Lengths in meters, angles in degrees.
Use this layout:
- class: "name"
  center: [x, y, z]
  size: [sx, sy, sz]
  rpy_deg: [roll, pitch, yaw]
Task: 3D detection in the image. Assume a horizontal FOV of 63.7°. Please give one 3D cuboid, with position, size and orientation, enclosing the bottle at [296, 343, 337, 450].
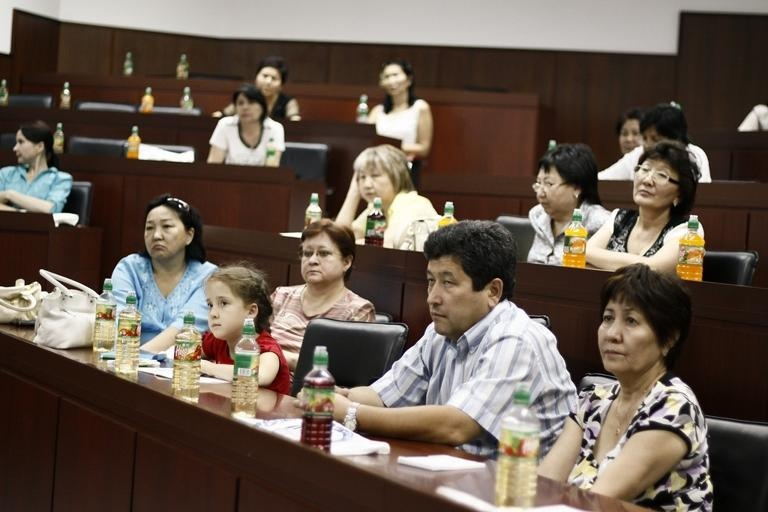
- class: "bottle"
  center: [-0.200, 0.404, 1.817]
  size: [0.096, 0.298, 0.225]
  rpy_deg: [0, 8, -7]

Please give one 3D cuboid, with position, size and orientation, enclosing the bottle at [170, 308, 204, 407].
- class: "bottle"
  center: [-0.724, 0.371, 2.255]
  size: [0.105, 0.307, 0.348]
  rpy_deg: [-2, 9, -19]

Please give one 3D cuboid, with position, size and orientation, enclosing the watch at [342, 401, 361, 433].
- class: "watch"
  center: [-0.115, 0.561, 2.150]
  size: [0.048, 0.088, 0.077]
  rpy_deg: [5, 10, 7]

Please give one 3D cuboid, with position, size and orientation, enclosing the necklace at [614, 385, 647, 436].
- class: "necklace"
  center: [0.798, 0.512, 2.051]
  size: [0.083, 0.171, 0.089]
  rpy_deg: [-5, 17, -43]

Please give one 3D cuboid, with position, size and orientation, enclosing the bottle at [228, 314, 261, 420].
- class: "bottle"
  center: [-0.476, 0.412, 2.108]
  size: [0.096, 0.242, 0.239]
  rpy_deg: [-1, 8, -14]

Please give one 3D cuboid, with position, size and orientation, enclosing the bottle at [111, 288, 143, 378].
- class: "bottle"
  center: [-1.047, 0.302, 2.536]
  size: [0.154, 0.337, 0.155]
  rpy_deg: [9, 13, -2]

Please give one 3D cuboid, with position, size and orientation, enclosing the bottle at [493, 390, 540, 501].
- class: "bottle"
  center: [0.334, 0.485, 1.548]
  size: [0.103, 0.270, 0.146]
  rpy_deg: [2, 8, 12]

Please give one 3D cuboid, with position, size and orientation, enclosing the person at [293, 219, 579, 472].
- class: "person"
  center: [0.162, 0.323, 2.588]
  size: [0.991, 1.053, 0.801]
  rpy_deg: [5, -8, -28]

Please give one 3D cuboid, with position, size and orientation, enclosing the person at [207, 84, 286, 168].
- class: "person"
  center: [-1.327, -1.040, 5.874]
  size: [0.719, 1.101, 0.648]
  rpy_deg: [0, -9, -7]

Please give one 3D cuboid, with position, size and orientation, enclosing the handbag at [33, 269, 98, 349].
- class: "handbag"
  center: [-1.499, 0.259, 2.931]
  size: [0.196, 0.380, 0.370]
  rpy_deg: [-4, -6, 2]
